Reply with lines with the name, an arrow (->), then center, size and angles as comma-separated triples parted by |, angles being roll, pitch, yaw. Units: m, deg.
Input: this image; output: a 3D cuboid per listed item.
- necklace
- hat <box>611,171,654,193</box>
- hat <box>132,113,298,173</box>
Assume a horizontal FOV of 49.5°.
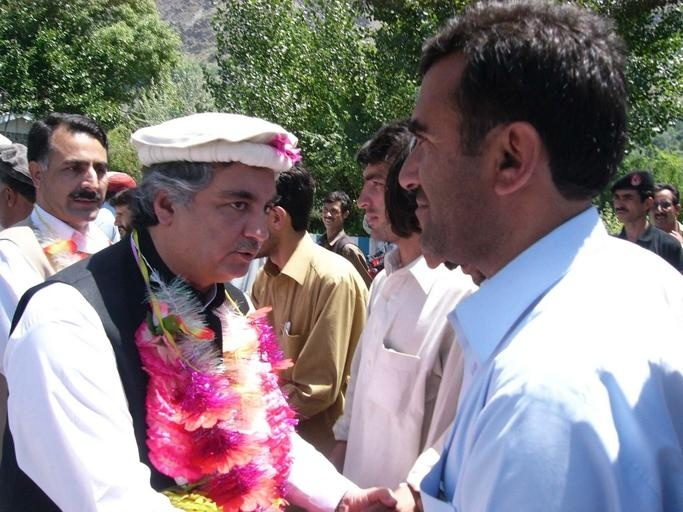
necklace -> -0.631, 0.306, 3.300 | 0.338, 0.678, 0.525 | -28, -11, 27
hat -> 2.879, -0.715, 7.265 | 0.287, 0.149, 0.234 | -4, 5, 7
hat -> -0.598, -0.518, 3.578 | 0.802, 0.256, 0.949 | 0, 1, -10
